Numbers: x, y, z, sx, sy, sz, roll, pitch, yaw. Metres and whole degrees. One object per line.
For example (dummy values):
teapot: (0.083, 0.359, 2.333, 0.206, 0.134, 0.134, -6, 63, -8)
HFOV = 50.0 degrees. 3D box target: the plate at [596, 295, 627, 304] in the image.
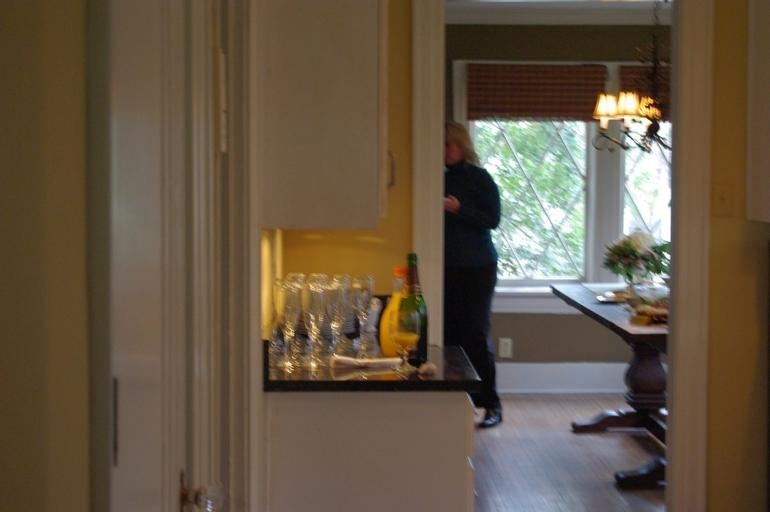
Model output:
plate: (1.151, 0.223, 4.187, 0.110, 0.022, 0.199, -3, 5, -25)

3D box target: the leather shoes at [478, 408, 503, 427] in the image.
leather shoes: (0.577, 0.894, 4.527, 0.060, 0.080, 0.184, -7, -15, 24)

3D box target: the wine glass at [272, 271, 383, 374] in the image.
wine glass: (-0.179, 0.195, 2.607, 0.282, 0.328, 0.298, 2, 0, 14)

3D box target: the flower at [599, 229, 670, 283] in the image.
flower: (1.349, -0.002, 4.413, 0.297, 0.318, 0.305, -13, 8, -24)

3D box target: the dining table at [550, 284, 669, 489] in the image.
dining table: (1.184, 0.650, 4.088, 0.642, 0.617, 1.234, 1, -1, 4)

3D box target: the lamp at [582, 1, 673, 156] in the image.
lamp: (1.387, -1.029, 4.674, 0.460, 0.877, 1.475, 3, 8, 18)
